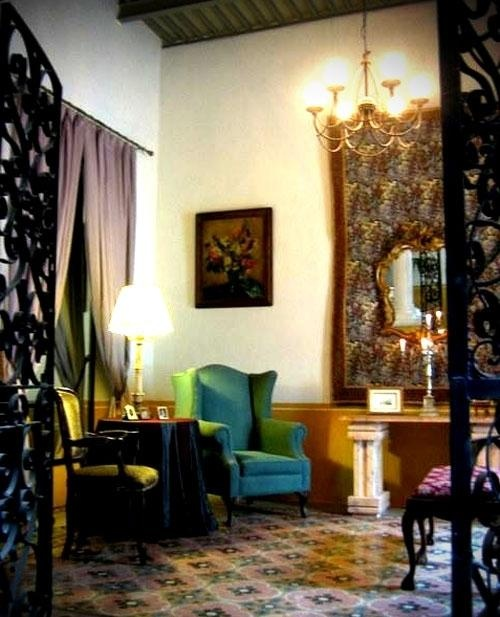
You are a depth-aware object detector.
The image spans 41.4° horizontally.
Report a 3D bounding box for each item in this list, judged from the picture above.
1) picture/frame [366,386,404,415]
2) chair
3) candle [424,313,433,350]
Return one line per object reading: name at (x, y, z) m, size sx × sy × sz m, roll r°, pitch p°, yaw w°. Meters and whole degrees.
picture/frame at (1.041, 0.712, 5.078) m, size 0.211 × 0.185 × 0.017 m, roll -1°, pitch -13°, yaw 8°
chair at (-0.820, 0.932, 3.861) m, size 0.584 × 0.918 × 1.039 m, roll 2°, pitch -8°, yaw -8°
candle at (1.402, 0.174, 5.193) m, size 0.052 × 0.280 × 0.135 m, roll -1°, pitch -8°, yaw 15°
